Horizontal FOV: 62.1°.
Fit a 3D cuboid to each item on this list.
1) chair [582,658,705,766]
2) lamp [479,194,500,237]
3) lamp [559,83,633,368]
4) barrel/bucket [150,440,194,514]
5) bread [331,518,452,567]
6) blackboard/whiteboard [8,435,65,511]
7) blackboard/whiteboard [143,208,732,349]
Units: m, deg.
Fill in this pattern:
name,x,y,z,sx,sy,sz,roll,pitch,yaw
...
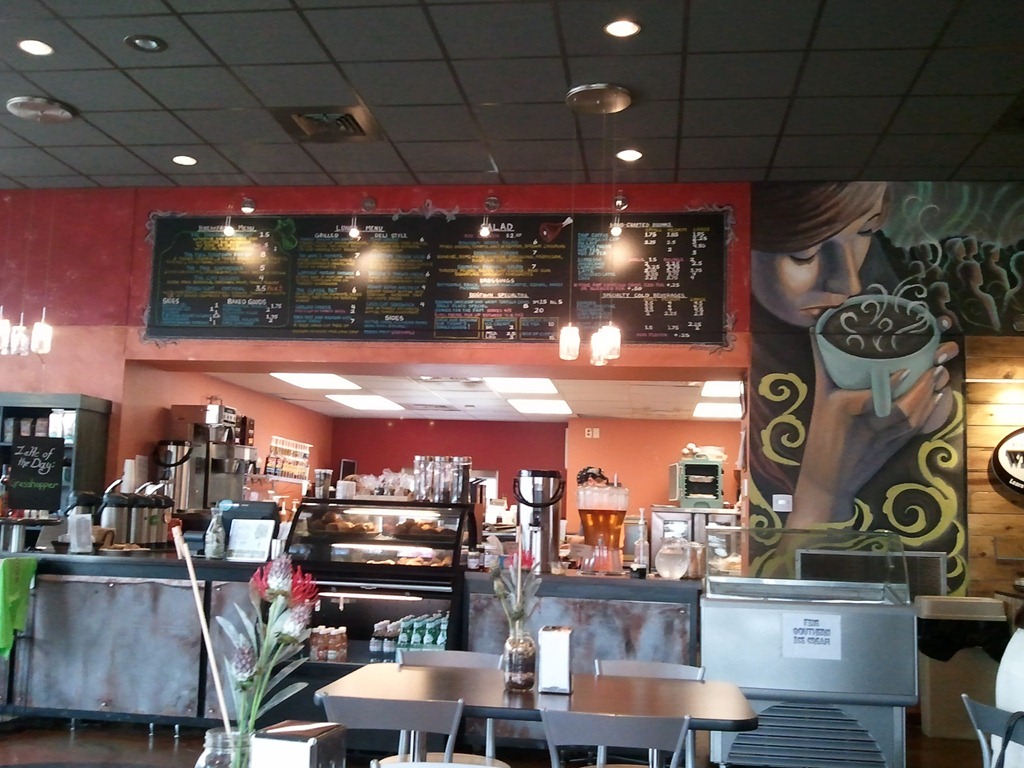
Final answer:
name,x,y,z,sx,sy,sz,roll,pitch,yaw
chair,0.692,1.550,4.259,0.607,0.734,0.616,0,-3,11
lamp,-0.177,-1.355,6.853,0.145,0.359,0.094,3,-9,2
lamp,0.574,-1.024,5.873,0.445,1.629,1.305,3,-8,6
barrel/bucket,-3.106,0.830,7.707,0.365,0.659,1.114,6,-8,-19
bread,-0.818,1.101,5.744,0.842,0.230,0.190,0,-9,20
blackboard/whiteboard,-3.614,0.679,6.439,0.379,0.560,0.179,6,-9,-16
blackboard/whiteboard,-0.361,-0.871,6.871,4.168,1.063,0.140,1,-9,7
